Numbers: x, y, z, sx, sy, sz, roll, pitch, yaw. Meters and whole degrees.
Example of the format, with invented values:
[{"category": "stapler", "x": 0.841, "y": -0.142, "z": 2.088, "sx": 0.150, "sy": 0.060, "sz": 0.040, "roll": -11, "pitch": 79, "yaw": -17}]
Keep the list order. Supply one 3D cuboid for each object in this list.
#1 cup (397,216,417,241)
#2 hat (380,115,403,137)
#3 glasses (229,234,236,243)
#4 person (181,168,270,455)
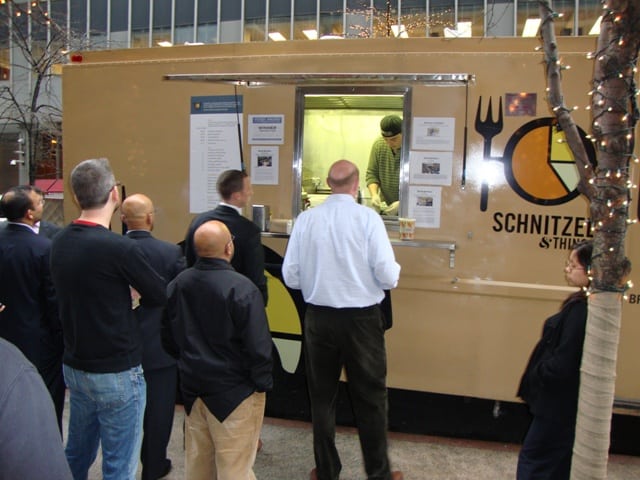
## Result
[{"category": "cup", "x": 0.682, "y": -0.095, "z": 5.328, "sx": 0.138, "sy": 0.198, "sz": 0.163, "roll": -3, "pitch": 7, "yaw": -26}, {"category": "hat", "x": 0.670, "y": -1.050, "z": 6.237, "sx": 0.237, "sy": 0.201, "sz": 0.186, "roll": 3, "pitch": 6, "yaw": 29}, {"category": "glasses", "x": -0.619, "y": -0.013, "z": 4.873, "sx": 0.020, "sy": 0.071, "sz": 0.062, "roll": 2, "pitch": -2, "yaw": 39}, {"category": "person", "x": -0.880, "y": 0.955, "z": 5.698, "sx": 0.752, "sy": 2.655, "sz": 0.722, "roll": 4, "pitch": 28, "yaw": 1}]
